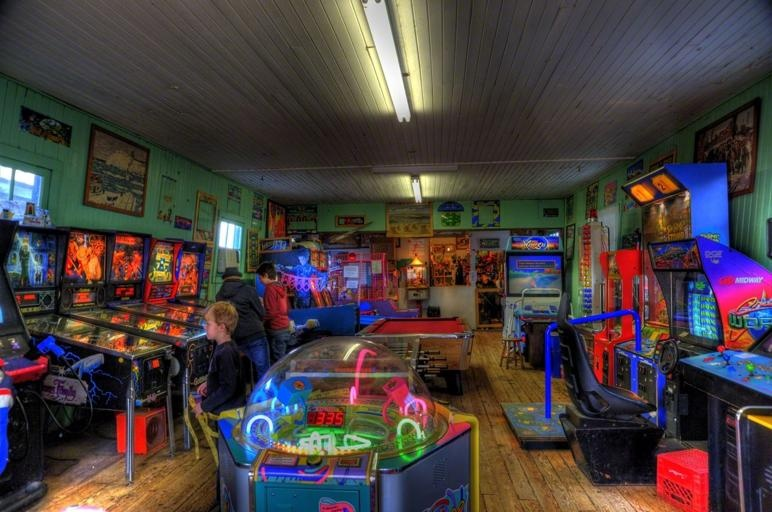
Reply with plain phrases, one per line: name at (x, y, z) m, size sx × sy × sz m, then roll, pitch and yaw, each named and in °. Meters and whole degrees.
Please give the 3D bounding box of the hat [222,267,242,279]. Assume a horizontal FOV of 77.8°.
hat at (-2.133, 0.242, 6.696) m, size 0.272 × 0.129 × 0.327 m, roll -2°, pitch -1°, yaw 3°

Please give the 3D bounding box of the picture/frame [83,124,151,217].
picture/frame at (-3.781, -1.203, 6.646) m, size 0.092 × 1.420 × 1.212 m, roll 2°, pitch -2°, yaw 22°

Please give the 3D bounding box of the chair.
chair at (2.452, 1.482, 5.308) m, size 1.117 × 1.732 × 1.148 m, roll -3°, pitch -6°, yaw 26°

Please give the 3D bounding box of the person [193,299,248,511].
person at (-1.608, 1.445, 4.665) m, size 0.477 × 1.968 × 0.619 m, roll -2°, pitch -3°, yaw -22°
